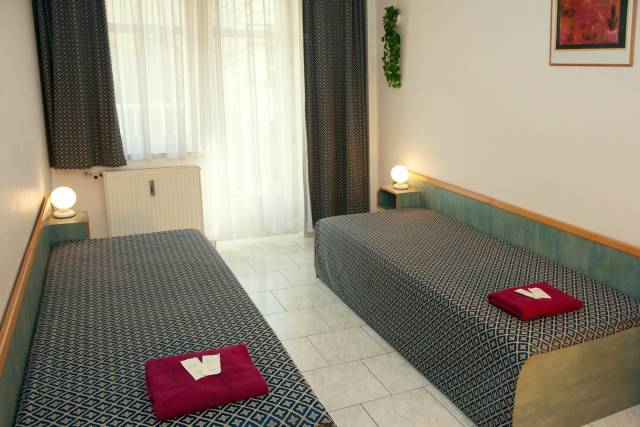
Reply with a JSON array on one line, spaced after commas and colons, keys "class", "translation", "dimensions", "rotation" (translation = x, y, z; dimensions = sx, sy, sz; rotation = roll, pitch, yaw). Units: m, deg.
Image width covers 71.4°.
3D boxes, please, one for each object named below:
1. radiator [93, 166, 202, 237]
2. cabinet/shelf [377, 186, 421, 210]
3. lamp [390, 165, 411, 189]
[{"class": "radiator", "translation": [-1.998, -0.151, 5.006], "dimensions": [0.741, 0.702, 0.123], "rotation": [-3, 11, -17]}, {"class": "cabinet/shelf", "translation": [0.889, -0.161, 5.155], "dimensions": [0.296, 0.276, 0.581], "rotation": [-12, 20, -27]}, {"class": "lamp", "translation": [0.883, -0.421, 5.177], "dimensions": [0.242, 0.285, 0.241], "rotation": [-9, 12, -38]}]
